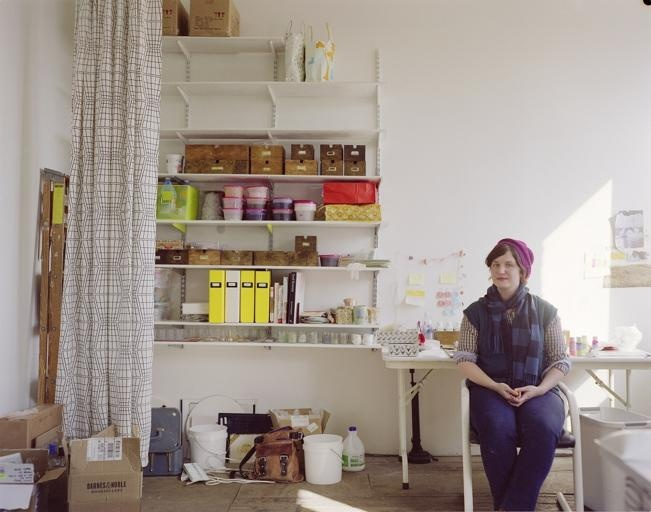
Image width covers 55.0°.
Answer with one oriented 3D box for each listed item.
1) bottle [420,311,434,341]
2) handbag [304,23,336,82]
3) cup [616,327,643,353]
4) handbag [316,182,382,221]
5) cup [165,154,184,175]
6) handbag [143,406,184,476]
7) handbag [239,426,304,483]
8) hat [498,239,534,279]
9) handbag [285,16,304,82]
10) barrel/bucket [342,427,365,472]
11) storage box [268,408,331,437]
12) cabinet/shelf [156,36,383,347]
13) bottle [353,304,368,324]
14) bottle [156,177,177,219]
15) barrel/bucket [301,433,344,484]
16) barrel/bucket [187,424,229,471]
[{"bbox_3d":[0.740,0.511,4.563,0.093,0.179,0.082,1,9,4],"label":"bottle"},{"bbox_3d":[-0.035,-1.478,4.571,0.228,0.441,0.312,0,9,-2],"label":"handbag"},{"bbox_3d":[2.119,0.582,4.362,0.151,0.189,0.166,1,-9,0],"label":"cup"},{"bbox_3d":[0.184,-0.374,4.405,0.391,0.276,0.106,0,9,-4],"label":"handbag"},{"bbox_3d":[-1.098,-0.649,4.592,0.139,0.172,0.141,-1,-2,0],"label":"cup"},{"bbox_3d":[-1.131,1.307,4.389,0.382,0.455,0.384,0,-6,-21],"label":"handbag"},{"bbox_3d":[-0.332,1.326,4.231,0.457,0.338,0.276,-4,-3,11],"label":"handbag"},{"bbox_3d":[1.214,-0.016,3.860,0.192,0.250,0.238,1,38,29],"label":"hat"},{"bbox_3d":[-0.225,-1.420,4.510,0.144,0.359,0.135,1,9,3],"label":"handbag"},{"bbox_3d":[0.189,1.331,4.337,0.172,0.288,0.163,-1,3,0],"label":"barrel/bucket"},{"bbox_3d":[-0.189,1.154,4.391,0.275,0.144,0.209,2,-7,2],"label":"storage box"},{"bbox_3d":[-0.364,-0.386,4.523,2.132,2.703,0.792,1,1,-1],"label":"cabinet/shelf"},{"bbox_3d":[0.241,0.417,4.362,0.078,0.119,0.125,-2,-8,7],"label":"bottle"},{"bbox_3d":[-1.143,-0.409,4.506,0.142,0.277,0.169,-2,9,-12],"label":"bottle"},{"bbox_3d":[-0.015,1.349,4.196,0.272,0.258,0.262,-1,-6,0],"label":"barrel/bucket"},{"bbox_3d":[-0.824,1.311,4.373,0.257,0.240,0.252,1,1,0],"label":"barrel/bucket"}]
